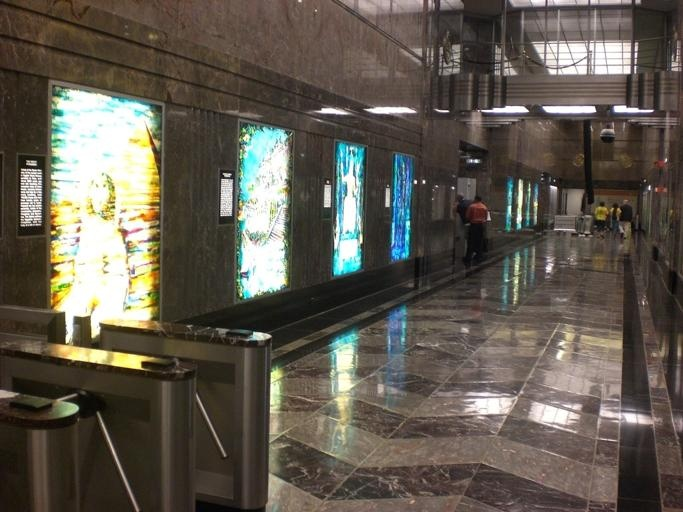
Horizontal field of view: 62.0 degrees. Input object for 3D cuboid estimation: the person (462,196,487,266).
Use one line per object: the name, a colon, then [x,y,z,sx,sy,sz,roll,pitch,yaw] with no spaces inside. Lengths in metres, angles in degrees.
person: [3.795,-0.765,16.017,0.615,1.864,0.789,1,7,14]
